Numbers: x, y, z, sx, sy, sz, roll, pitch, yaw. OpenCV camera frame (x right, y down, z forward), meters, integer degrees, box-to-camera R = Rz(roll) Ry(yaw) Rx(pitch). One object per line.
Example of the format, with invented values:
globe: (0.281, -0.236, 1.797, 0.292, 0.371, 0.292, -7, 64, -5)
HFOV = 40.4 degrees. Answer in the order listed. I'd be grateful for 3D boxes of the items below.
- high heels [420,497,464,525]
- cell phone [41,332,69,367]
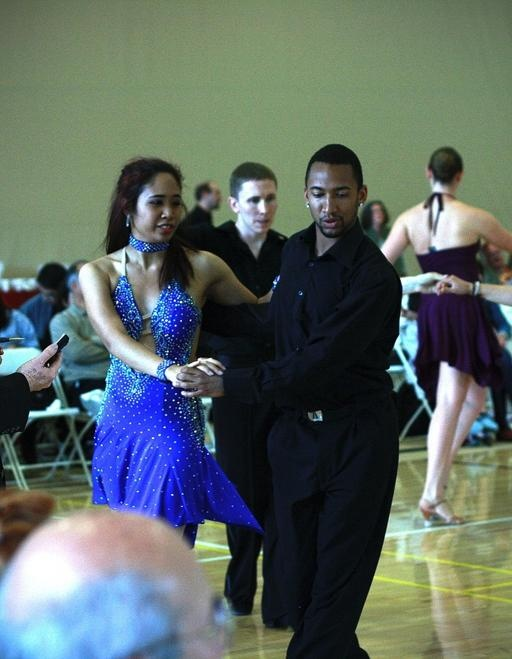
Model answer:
high heels: (1.119, 1.062, 4.093, 0.326, 0.155, 0.107, -2, -2, -3)
cell phone: (-0.605, 0.064, 2.083, 0.032, 0.131, 0.032, 28, 47, -14)
